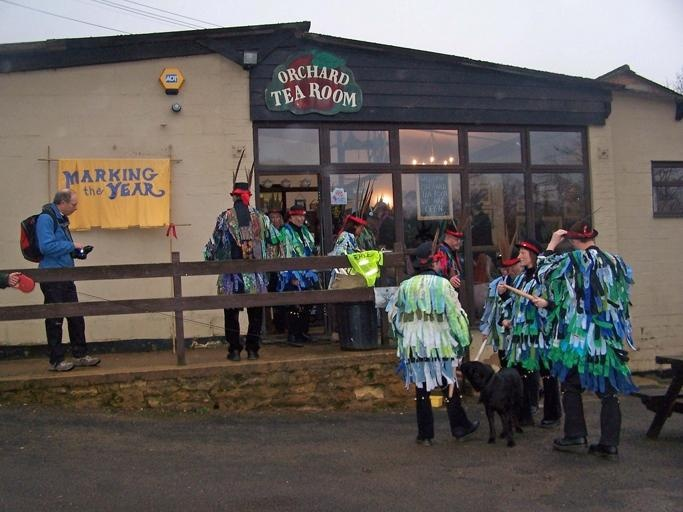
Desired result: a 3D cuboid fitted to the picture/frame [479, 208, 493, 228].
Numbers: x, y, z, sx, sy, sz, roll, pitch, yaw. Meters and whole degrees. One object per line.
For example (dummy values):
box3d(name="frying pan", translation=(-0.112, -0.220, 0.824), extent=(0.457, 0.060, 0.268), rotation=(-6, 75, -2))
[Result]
box3d(name="picture/frame", translation=(2.287, -0.621, 14.797), extent=(0.227, 0.206, 0.054), rotation=(5, -5, -13))

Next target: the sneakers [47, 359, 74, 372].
box3d(name="sneakers", translation=(-3.507, 1.365, 11.605), extent=(0.359, 0.156, 0.130), rotation=(-4, 1, -3))

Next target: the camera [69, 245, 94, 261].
box3d(name="camera", translation=(-3.289, -0.070, 11.716), extent=(0.185, 0.120, 0.288), rotation=(-6, -12, -47))

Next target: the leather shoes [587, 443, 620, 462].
box3d(name="leather shoes", translation=(2.836, 2.099, 10.016), extent=(0.128, 0.233, 0.347), rotation=(-4, 12, -38))

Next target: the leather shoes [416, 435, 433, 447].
box3d(name="leather shoes", translation=(0.941, 2.096, 10.480), extent=(0.091, 0.083, 0.198), rotation=(0, 5, -8))

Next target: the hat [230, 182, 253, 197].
box3d(name="hat", translation=(-1.355, -0.895, 12.329), extent=(0.201, 0.144, 0.278), rotation=(0, 3, -12))

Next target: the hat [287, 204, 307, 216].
box3d(name="hat", translation=(-0.627, -0.665, 13.252), extent=(0.167, 0.098, 0.169), rotation=(2, 5, 30))

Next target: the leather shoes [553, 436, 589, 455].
box3d(name="leather shoes", translation=(2.519, 2.074, 10.209), extent=(0.378, 0.159, 0.162), rotation=(5, 4, 40))

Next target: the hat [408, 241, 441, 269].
box3d(name="hat", translation=(0.963, 0.019, 10.656), extent=(0.362, 0.193, 0.384), rotation=(-10, 24, 24))

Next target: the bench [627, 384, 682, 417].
box3d(name="bench", translation=(3.900, 1.811, 11.473), extent=(0.790, 0.370, 1.288), rotation=(4, -11, 10))

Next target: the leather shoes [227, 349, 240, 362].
box3d(name="leather shoes", translation=(-1.406, 1.285, 11.942), extent=(0.144, 0.152, 0.365), rotation=(0, 1, -9))

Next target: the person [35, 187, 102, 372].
box3d(name="person", translation=(-3.514, 0.317, 11.634), extent=(0.682, 2.262, 0.699), rotation=(1, 10, -3))

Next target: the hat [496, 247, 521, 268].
box3d(name="hat", translation=(2.146, 0.044, 11.873), extent=(0.330, 0.278, 0.459), rotation=(-1, 0, 7))

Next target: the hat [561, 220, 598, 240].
box3d(name="hat", translation=(2.931, -0.324, 11.361), extent=(0.311, 0.138, 0.342), rotation=(-1, 4, 7))

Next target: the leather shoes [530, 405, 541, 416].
box3d(name="leather shoes", translation=(2.456, 1.973, 11.716), extent=(0.137, 0.050, 0.184), rotation=(-1, 6, 7))

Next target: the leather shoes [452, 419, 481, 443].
box3d(name="leather shoes", translation=(1.479, 1.978, 10.714), extent=(0.425, 0.175, 0.138), rotation=(-31, 18, -28))

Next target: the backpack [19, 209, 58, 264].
box3d(name="backpack", translation=(-3.864, -0.267, 11.615), extent=(0.454, 0.737, 0.301), rotation=(8, 12, 32))

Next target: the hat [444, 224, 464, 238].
box3d(name="hat", translation=(1.589, -0.353, 12.984), extent=(0.173, 0.122, 0.235), rotation=(-5, 16, -35))

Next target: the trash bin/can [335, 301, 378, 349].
box3d(name="trash bin/can", translation=(0.196, 0.917, 12.128), extent=(0.603, 0.609, 0.579), rotation=(0, -11, -17))

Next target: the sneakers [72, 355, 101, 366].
box3d(name="sneakers", translation=(-3.291, 1.336, 11.851), extent=(0.337, 0.140, 0.140), rotation=(-1, -2, 0))

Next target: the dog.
box3d(name="dog", translation=(1.861, 1.659, 10.753), extent=(0.443, 0.965, 1.304), rotation=(-13, -6, 37))

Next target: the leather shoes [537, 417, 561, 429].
box3d(name="leather shoes", translation=(2.508, 2.015, 11.180), extent=(0.231, 0.108, 0.095), rotation=(4, -5, -14))
